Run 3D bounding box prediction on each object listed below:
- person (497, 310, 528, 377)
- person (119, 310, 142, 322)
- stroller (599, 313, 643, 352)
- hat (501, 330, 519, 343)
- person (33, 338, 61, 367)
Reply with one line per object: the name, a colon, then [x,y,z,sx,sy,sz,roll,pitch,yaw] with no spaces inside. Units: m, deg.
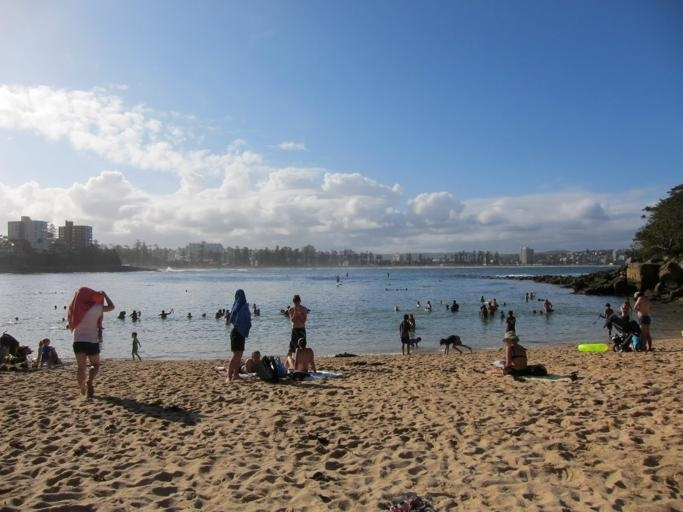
person: [4.505,2.459,15.698,0.701,1.230,1.503,0,0,15]
person: [-13.388,3.829,38.199,1.564,0.605,1.037,0,0,30]
stroller: [9.452,2.578,20.151,0.834,0.965,1.713,0,-1,20]
hat: [4.322,2.042,15.331,0.338,0.111,0.342,-2,2,34]
person: [-9.190,2.994,18.894,0.723,0.760,0.591,0,0,-13]
